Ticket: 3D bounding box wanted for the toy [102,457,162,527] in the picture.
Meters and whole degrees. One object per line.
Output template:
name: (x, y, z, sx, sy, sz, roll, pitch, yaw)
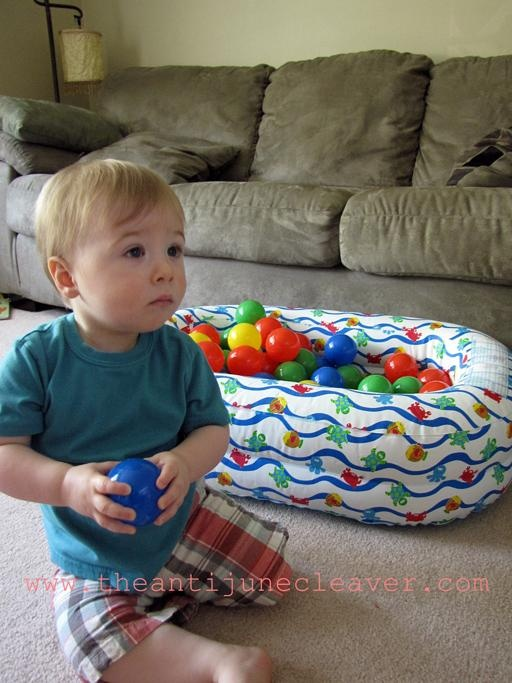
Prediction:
toy: (-0.141, 0.171, 0.698, 0.051, 0.057, 0.051, -40, 46, -22)
